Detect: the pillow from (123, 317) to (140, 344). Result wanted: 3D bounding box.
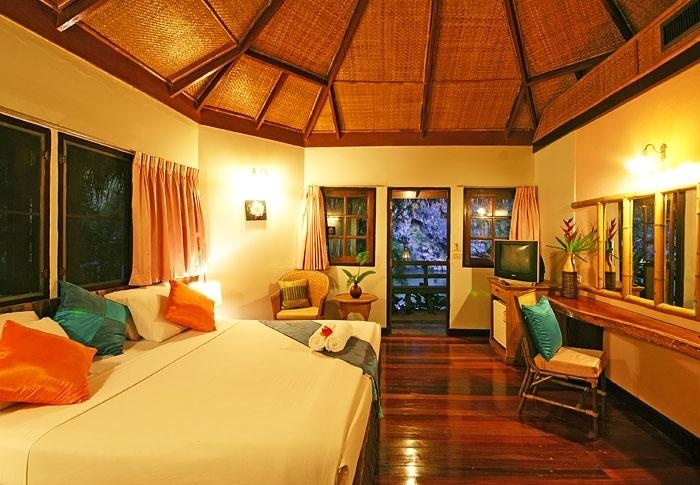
[{"bbox_3d":[-2.096,0.862,4.706,0.054,0.183,0.180,-18,-10,9],"label":"pillow"}]

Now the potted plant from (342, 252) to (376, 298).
[{"bbox_3d":[0.108,0.458,6.976,0.598,0.739,0.488,1,-1,26],"label":"potted plant"}]

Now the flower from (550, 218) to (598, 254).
[{"bbox_3d":[2.700,-0.014,5.781,0.475,0.440,0.544,7,-8,4],"label":"flower"}]

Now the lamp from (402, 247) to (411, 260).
[{"bbox_3d":[1.114,0.215,9.458,0.161,0.214,0.182,1,3,6],"label":"lamp"}]

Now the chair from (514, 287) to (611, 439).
[{"bbox_3d":[2.199,1.188,4.995,0.800,1.194,0.756,1,3,44],"label":"chair"}]

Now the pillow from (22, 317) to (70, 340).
[{"bbox_3d":[-2.590,0.735,4.122,0.225,0.067,0.221,28,-5,23],"label":"pillow"}]

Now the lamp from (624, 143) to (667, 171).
[{"bbox_3d":[2.995,-0.840,4.924,0.211,0.227,0.254,-7,14,-23],"label":"lamp"}]

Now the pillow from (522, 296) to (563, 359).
[{"bbox_3d":[2.011,0.879,5.014,0.280,0.516,0.559,0,9,38],"label":"pillow"}]

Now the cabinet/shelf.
[{"bbox_3d":[2.240,1.005,6.425,0.625,0.995,1.037,1,2,6],"label":"cabinet/shelf"}]

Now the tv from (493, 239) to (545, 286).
[{"bbox_3d":[2.117,0.233,6.266,0.479,0.666,0.797,0,-2,-24],"label":"tv"}]

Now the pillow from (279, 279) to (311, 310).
[{"bbox_3d":[-0.760,0.720,6.639,0.332,0.326,0.116,5,-25,-37],"label":"pillow"}]

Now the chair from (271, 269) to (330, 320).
[{"bbox_3d":[-0.644,0.712,6.690,0.660,0.821,0.621,-1,-9,0],"label":"chair"}]
